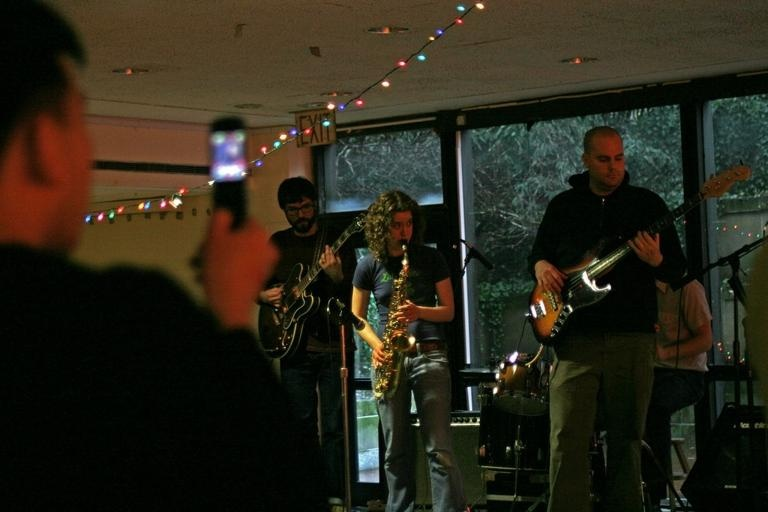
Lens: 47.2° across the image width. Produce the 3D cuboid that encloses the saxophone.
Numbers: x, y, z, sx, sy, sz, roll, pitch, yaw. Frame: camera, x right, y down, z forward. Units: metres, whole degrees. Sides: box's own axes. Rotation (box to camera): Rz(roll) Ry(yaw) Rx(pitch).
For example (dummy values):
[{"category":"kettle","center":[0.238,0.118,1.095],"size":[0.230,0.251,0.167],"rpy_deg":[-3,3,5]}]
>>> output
[{"category":"saxophone","center":[0.043,0.288,3.906],"size":[0.146,0.663,0.338],"rpy_deg":[0,-12,-14]}]

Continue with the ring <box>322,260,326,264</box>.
[{"category":"ring","center":[-0.291,0.025,4.211],"size":[0.015,0.021,0.005],"rpy_deg":[6,1,4]}]
